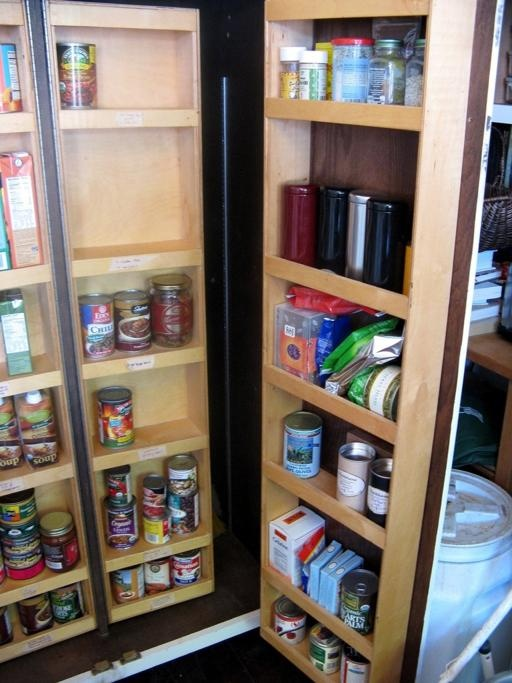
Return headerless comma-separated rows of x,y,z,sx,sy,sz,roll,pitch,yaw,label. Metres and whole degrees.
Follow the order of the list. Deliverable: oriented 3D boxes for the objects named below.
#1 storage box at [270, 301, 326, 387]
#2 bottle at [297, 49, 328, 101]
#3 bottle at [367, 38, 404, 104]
0.109,0.003,1.374,0.113,0.204,0.149,-13,27,-36,storage box
0.117,-0.545,1.126,0.060,0.091,0.043,-2,21,7,bottle
0.232,-0.480,0.982,0.067,0.108,0.052,1,21,14,bottle
